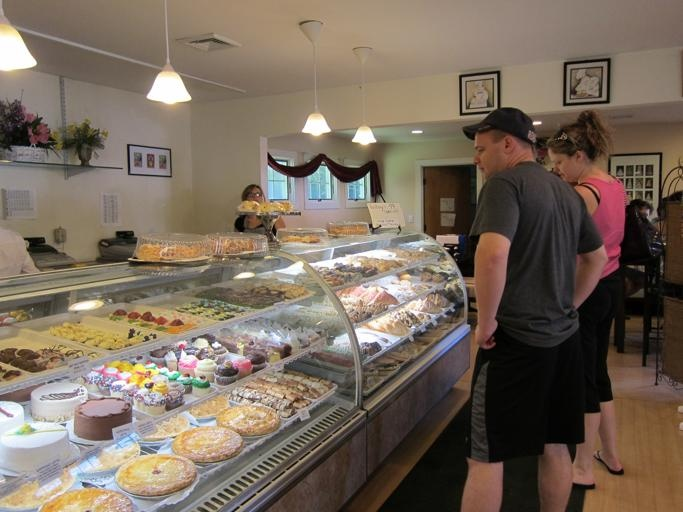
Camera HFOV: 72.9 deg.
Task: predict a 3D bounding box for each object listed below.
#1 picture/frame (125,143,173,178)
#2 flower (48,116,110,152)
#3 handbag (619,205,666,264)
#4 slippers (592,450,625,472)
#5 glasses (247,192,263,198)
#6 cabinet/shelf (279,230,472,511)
[{"bbox_3d":[-2.429,-1.194,5.786,0.014,0.298,0.558,0,2,27],"label":"picture/frame"},{"bbox_3d":[-2.794,-1.270,4.960,0.415,0.259,0.402,0,3,3],"label":"flower"},{"bbox_3d":[2.197,-0.146,3.382,0.324,0.454,0.685,-6,0,30],"label":"handbag"},{"bbox_3d":[1.639,1.262,2.854,0.055,0.036,0.146,-19,33,-15],"label":"slippers"},{"bbox_3d":[-0.876,-0.641,4.913,0.113,0.075,0.163,2,9,26],"label":"glasses"},{"bbox_3d":[0.182,0.685,2.717,0.584,0.955,1.535,0,9,29],"label":"cabinet/shelf"}]
